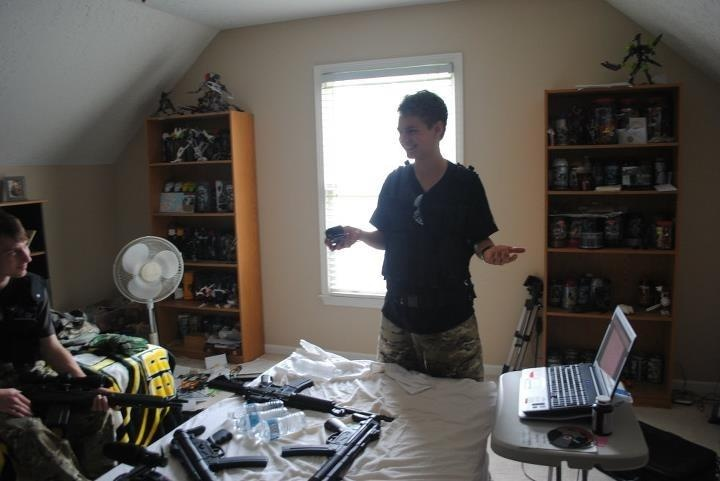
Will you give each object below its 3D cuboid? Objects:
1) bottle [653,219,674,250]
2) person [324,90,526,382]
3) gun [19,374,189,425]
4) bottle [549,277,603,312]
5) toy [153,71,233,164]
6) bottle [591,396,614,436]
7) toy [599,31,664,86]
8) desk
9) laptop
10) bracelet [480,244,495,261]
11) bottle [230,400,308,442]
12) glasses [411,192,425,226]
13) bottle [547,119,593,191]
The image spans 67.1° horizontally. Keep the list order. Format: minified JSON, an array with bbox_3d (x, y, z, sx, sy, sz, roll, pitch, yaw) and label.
[{"bbox_3d":[2.405,-0.046,4.302,0.135,0.229,0.041,1,4,26],"label":"bottle"},{"bbox_3d":[0.443,-0.021,3.286,0.723,1.710,0.283,0,3,0],"label":"person"},{"bbox_3d":[-1.635,0.936,3.195,1.214,0.245,0.194,1,4,17],"label":"gun"},{"bbox_3d":[1.825,0.443,4.569,0.432,0.284,0.236,0,2,20],"label":"bottle"},{"bbox_3d":[-1.619,-1.187,5.299,1.084,0.911,0.551,0,4,8],"label":"toy"},{"bbox_3d":[1.174,0.847,2.638,0.089,0.190,0.051,1,4,21],"label":"bottle"},{"bbox_3d":[2.154,-1.438,4.270,0.241,0.281,0.392,-14,14,-19],"label":"toy"},{"bbox_3d":[1.023,0.795,2.705,0.618,0.465,0.572,0,-9,22],"label":"desk"},{"bbox_3d":[1.126,0.630,2.905,0.632,0.399,0.660,-6,6,7],"label":"laptop"},{"bbox_3d":[0.731,0.060,3.158,0.096,0.035,0.067,-41,2,-21],"label":"bracelet"},{"bbox_3d":[-0.494,0.985,2.962,0.217,0.073,0.216,0,3,0],"label":"bottle"},{"bbox_3d":[0.342,-0.185,3.233,0.103,0.156,0.164,12,19,-3],"label":"glasses"},{"bbox_3d":[1.738,-0.713,4.507,0.369,0.595,0.258,0,3,12],"label":"bottle"}]
